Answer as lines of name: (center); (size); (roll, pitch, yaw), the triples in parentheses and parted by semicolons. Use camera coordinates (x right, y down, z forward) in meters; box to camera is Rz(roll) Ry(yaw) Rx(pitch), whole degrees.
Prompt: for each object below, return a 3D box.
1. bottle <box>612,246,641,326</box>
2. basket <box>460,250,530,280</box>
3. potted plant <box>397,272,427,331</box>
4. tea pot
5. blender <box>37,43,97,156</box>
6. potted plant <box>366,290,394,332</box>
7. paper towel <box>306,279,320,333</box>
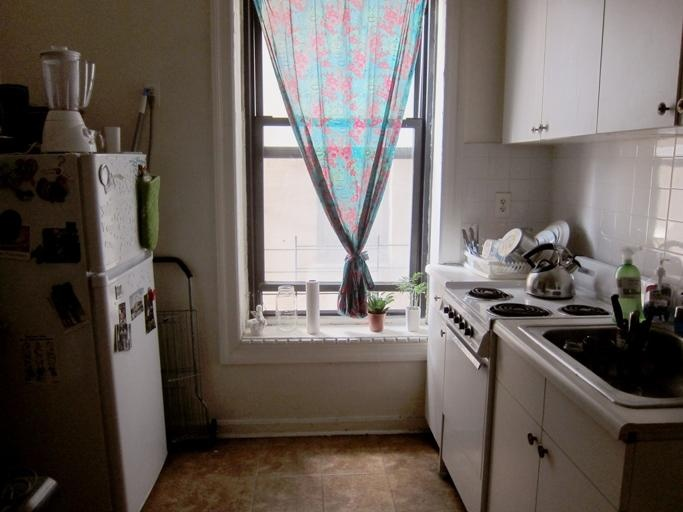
bottle: (1.195, 0.115, 2.205); (0.076, 0.297, 0.078); (-3, -4, 0)
basket: (0.845, 0.050, 3.007); (0.262, 0.130, 0.356); (3, 8, -10)
potted plant: (0.454, 0.318, 3.433); (0.151, 0.399, 0.132); (2, 12, -9)
tea pot: (1.046, 0.073, 2.641); (0.292, 0.297, 0.209); (-5, 2, -12)
blender: (-1.348, -0.748, 2.612); (0.242, 0.542, 0.263); (-3, 1, -41)
potted plant: (0.213, 0.348, 3.389); (0.160, 0.232, 0.162); (4, -2, 9)
paper towel: (-0.179, 0.316, 3.327); (0.081, 0.316, 0.105); (-3, 10, -5)
